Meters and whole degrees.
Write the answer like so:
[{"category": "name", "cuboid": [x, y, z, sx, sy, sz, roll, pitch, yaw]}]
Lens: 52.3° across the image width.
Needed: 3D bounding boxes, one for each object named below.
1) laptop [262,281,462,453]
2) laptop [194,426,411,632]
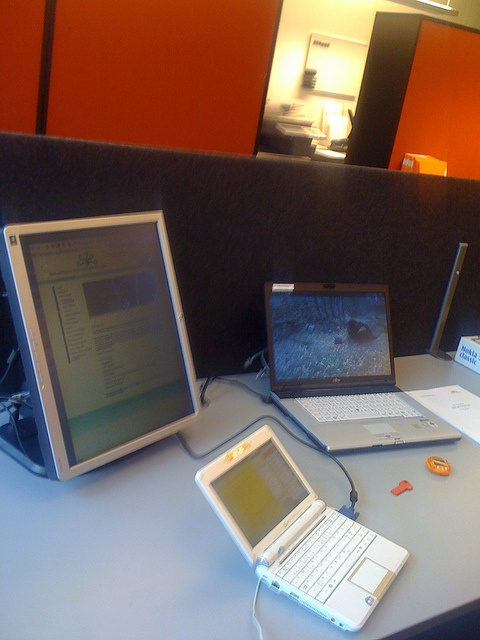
[{"category": "laptop", "cuboid": [0.226, 0.091, 1.027, 0.309, 0.269, 0.324, -2, 22, -27]}, {"category": "laptop", "cuboid": [0.084, 0.248, 0.621, 0.228, 0.141, 0.182, 15, 28, 33]}]
